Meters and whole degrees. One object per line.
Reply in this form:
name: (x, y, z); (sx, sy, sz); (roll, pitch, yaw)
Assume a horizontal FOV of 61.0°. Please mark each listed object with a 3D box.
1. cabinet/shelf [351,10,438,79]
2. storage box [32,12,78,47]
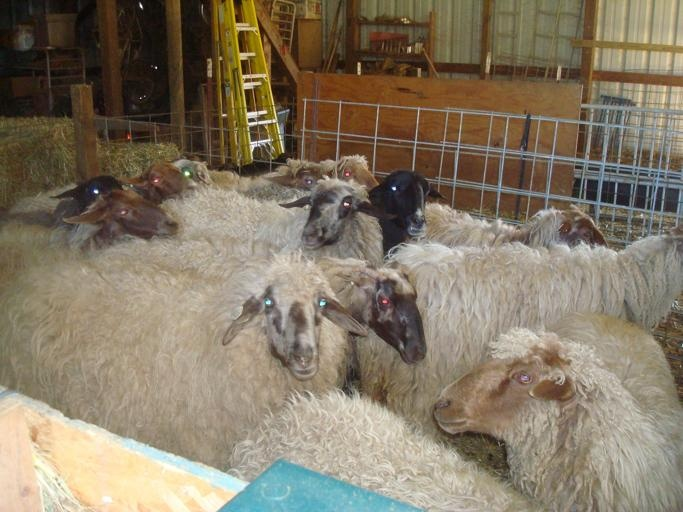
cabinet/shelf: (0.966, -3.885, 10.832); (1.487, 1.031, 1.217); (6, 14, 12)
storage box: (-2.982, -2.320, 6.050); (0.445, 0.294, 0.473); (-11, 17, -19)
